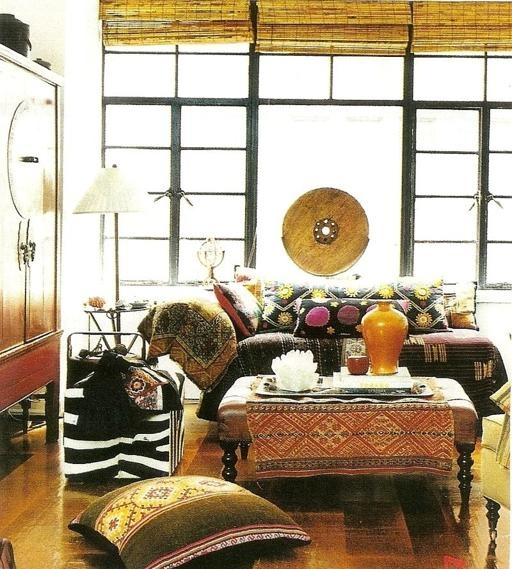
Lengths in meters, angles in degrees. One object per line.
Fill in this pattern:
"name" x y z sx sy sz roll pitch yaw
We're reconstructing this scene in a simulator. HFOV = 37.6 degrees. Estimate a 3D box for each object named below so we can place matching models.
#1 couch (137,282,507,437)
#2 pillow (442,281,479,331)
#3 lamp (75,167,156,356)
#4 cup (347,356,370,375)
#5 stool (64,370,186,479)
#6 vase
"couch" 0.470 0.374 4.205 1.339 0.486 0.915 0 2 0
"pillow" 1.250 0.136 4.633 0.295 0.241 0.078 2 -21 -3
"lamp" -0.822 -0.168 4.482 0.417 1.045 0.726 1 3 5
"cup" 0.424 0.336 3.113 0.084 0.058 0.077 -1 -6 0
"stool" -0.556 0.600 3.431 0.553 0.349 0.508 0 -1 -4
"vase" 0.520 0.220 3.118 0.182 0.302 0.206 2 4 22
